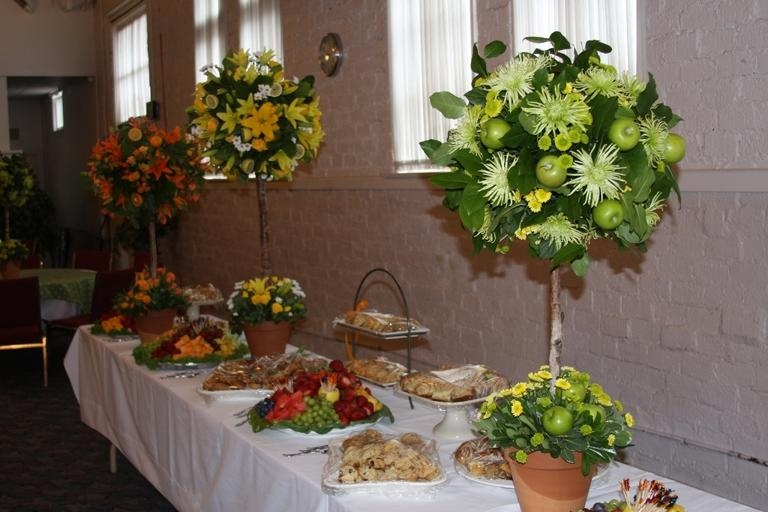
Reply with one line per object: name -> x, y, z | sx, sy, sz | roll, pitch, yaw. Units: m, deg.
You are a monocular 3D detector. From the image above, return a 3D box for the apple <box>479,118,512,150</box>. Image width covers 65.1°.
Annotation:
apple -> 0.319, -0.357, 1.743 | 0.099, 0.090, 0.081 | -5, 6, -34

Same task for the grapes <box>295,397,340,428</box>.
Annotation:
grapes -> -0.271, 0.643, 2.486 | 0.122, 0.060, 0.128 | 1, 21, -8

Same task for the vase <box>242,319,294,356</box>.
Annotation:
vase -> -0.653, 0.455, 3.365 | 0.291, 0.217, 0.296 | -3, 3, -26

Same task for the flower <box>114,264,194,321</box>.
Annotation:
flower -> -1.439, 0.220, 3.813 | 0.261, 0.218, 0.281 | -6, 11, -12

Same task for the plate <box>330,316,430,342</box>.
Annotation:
plate -> 0.004, 0.430, 3.549 | 0.362, 0.086, 0.622 | -3, 4, -35

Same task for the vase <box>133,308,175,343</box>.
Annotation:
vase -> -1.445, 0.411, 3.757 | 0.196, 0.164, 0.205 | -3, 8, -14

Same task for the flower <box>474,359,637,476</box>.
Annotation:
flower -> 0.535, 0.480, 1.858 | 0.354, 0.216, 0.372 | 2, 11, 19

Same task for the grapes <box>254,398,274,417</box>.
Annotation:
grapes -> -0.496, 0.643, 2.540 | 0.058, 0.060, 0.079 | -5, 9, -37

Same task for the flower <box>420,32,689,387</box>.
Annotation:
flower -> 0.533, -0.161, 1.950 | 0.697, 0.934, 0.770 | -3, -1, 12

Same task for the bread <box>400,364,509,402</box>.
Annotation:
bread -> 0.285, 0.537, 2.499 | 0.199, 0.046, 0.212 | 1, 6, 36

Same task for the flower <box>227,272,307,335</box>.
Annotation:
flower -> -0.691, 0.282, 3.428 | 0.443, 0.320, 0.494 | -7, -5, -12

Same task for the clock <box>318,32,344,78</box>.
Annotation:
clock -> -0.460, -1.743, 5.136 | 0.070, 0.321, 0.318 | 1, -39, -29

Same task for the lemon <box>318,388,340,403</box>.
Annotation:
lemon -> -0.228, 0.590, 2.544 | 0.059, 0.061, 0.060 | 1, -1, -24

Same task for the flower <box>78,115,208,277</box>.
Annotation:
flower -> -1.614, -0.415, 4.051 | 0.738, 0.999, 0.879 | -12, 0, 1

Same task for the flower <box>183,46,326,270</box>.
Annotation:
flower -> -0.683, -0.499, 3.248 | 0.715, 1.205, 0.378 | -2, 7, -17
